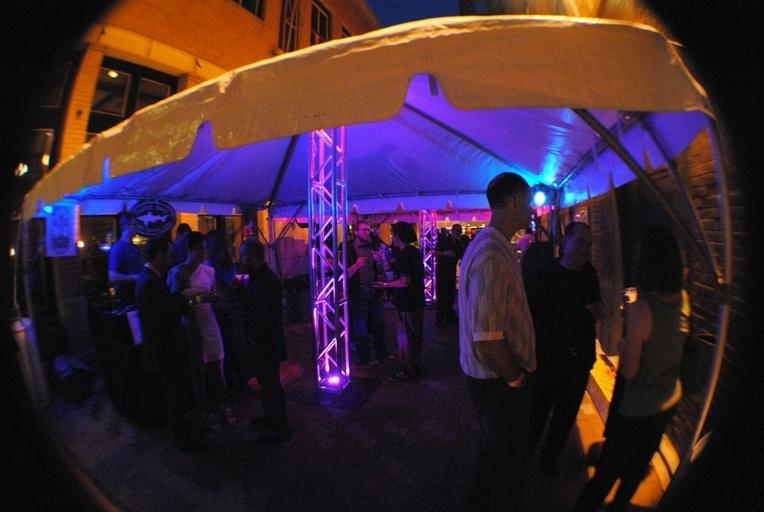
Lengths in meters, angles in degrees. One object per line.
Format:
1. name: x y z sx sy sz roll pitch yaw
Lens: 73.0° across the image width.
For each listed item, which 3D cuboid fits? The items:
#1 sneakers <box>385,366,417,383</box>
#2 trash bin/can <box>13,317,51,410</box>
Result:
1. sneakers: 0.346 1.932 8.415 0.432 0.211 0.212 5 -4 1
2. trash bin/can: -5.937 1.859 8.850 0.315 1.271 0.467 -25 5 -37
